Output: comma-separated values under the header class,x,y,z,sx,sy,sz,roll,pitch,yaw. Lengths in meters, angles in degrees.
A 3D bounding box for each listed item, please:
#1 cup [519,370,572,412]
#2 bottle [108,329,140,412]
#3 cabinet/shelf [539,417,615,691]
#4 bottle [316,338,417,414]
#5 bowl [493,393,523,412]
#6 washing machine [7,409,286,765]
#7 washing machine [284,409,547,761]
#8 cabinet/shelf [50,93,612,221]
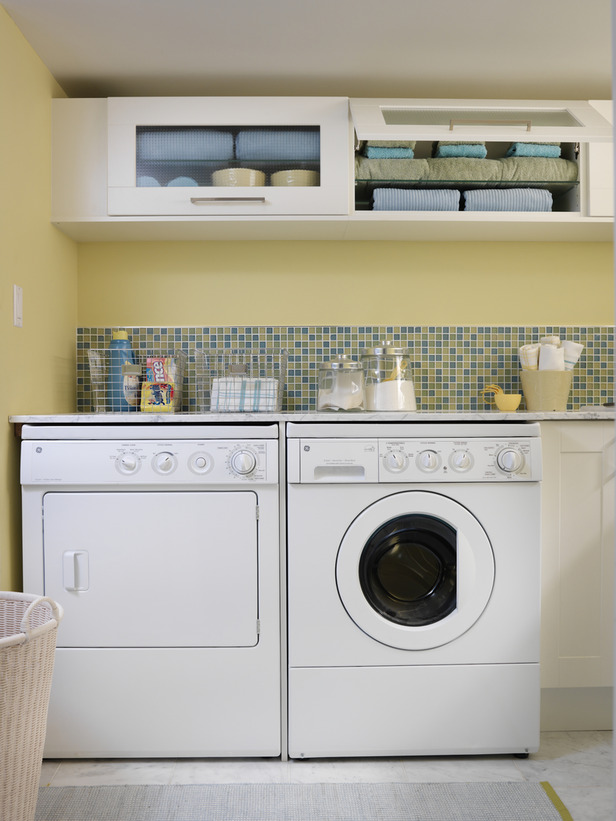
class,x,y,z,sx,sy,sz,roll,pitch,yaw
cup,0.785,-0.059,2.873,0.151,0.106,0.138,0,-3,0
bottle,-0.649,-0.135,3.004,0.109,0.265,0.146,-3,11,-12
cabinet/shelf,0.784,0.416,2.555,0.217,0.796,0.185,1,11,7
bottle,0.189,-0.091,2.802,0.379,0.264,0.212,0,-2,-3
bowl,0.672,-0.026,2.952,0.077,0.046,0.075,0,-5,0
washing machine,-0.497,0.464,2.727,0.768,0.943,0.694,1,3,-16
washing machine,0.271,0.503,2.712,0.837,0.925,0.737,-1,-5,7
cabinet/shelf,-0.003,-0.797,2.795,1.612,0.394,0.305,1,11,7
